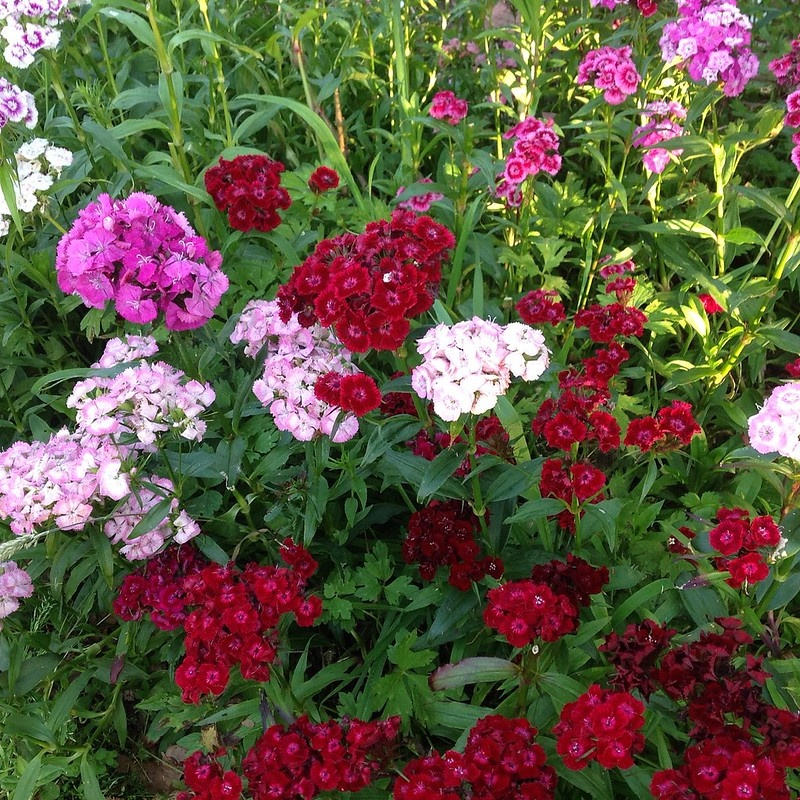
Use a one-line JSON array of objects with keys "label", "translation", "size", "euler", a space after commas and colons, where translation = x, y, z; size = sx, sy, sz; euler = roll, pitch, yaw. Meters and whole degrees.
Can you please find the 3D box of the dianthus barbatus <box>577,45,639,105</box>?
[{"label": "dianthus barbatus", "translation": [0.975, -1.524, 3.737], "size": [0.282, 0.353, 0.326], "euler": [-1, 25, 13]}]
